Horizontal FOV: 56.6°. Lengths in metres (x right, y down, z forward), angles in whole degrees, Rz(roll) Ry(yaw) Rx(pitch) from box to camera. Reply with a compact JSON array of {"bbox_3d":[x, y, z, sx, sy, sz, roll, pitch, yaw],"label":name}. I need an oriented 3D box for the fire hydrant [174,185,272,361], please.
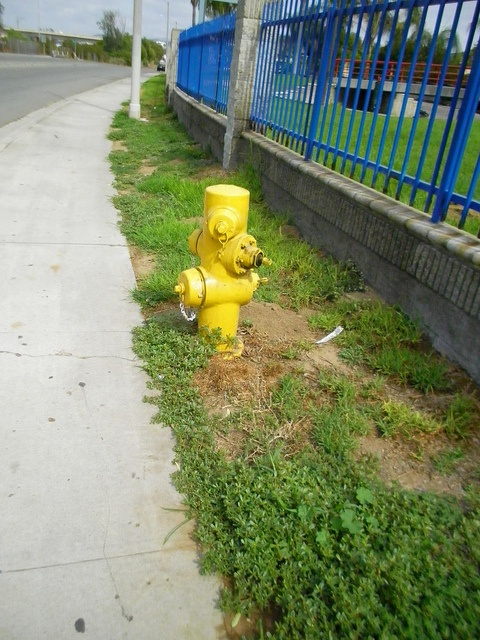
[{"bbox_3d":[-0.107,-0.302,2.943,0.571,1.065,0.492,9,25,3],"label":"fire hydrant"}]
